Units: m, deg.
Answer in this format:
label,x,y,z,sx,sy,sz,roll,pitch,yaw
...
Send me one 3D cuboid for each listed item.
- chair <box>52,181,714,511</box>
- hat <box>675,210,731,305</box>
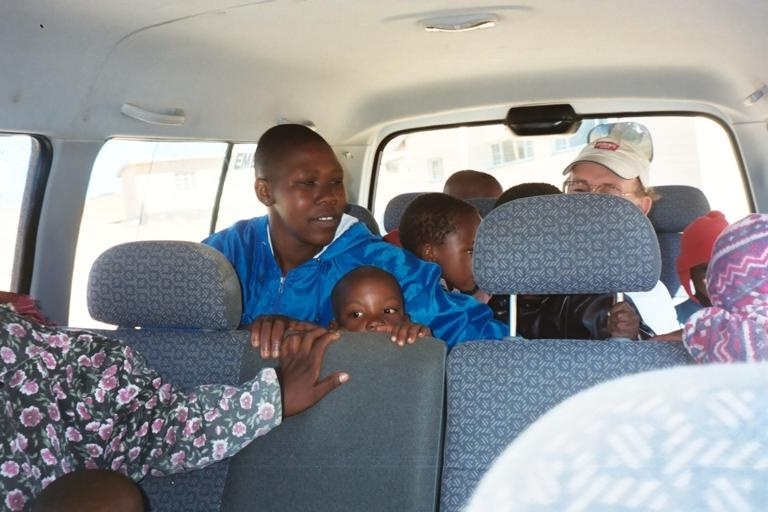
label,x,y,z,sx,sy,sz,roll,pitch,yaw
chair,0.094,0.441,2.976,2.313,0.907,1.144,-2,-10,2
hat,1.454,-0.010,2.903,0.289,0.380,0.311,-5,0,4
